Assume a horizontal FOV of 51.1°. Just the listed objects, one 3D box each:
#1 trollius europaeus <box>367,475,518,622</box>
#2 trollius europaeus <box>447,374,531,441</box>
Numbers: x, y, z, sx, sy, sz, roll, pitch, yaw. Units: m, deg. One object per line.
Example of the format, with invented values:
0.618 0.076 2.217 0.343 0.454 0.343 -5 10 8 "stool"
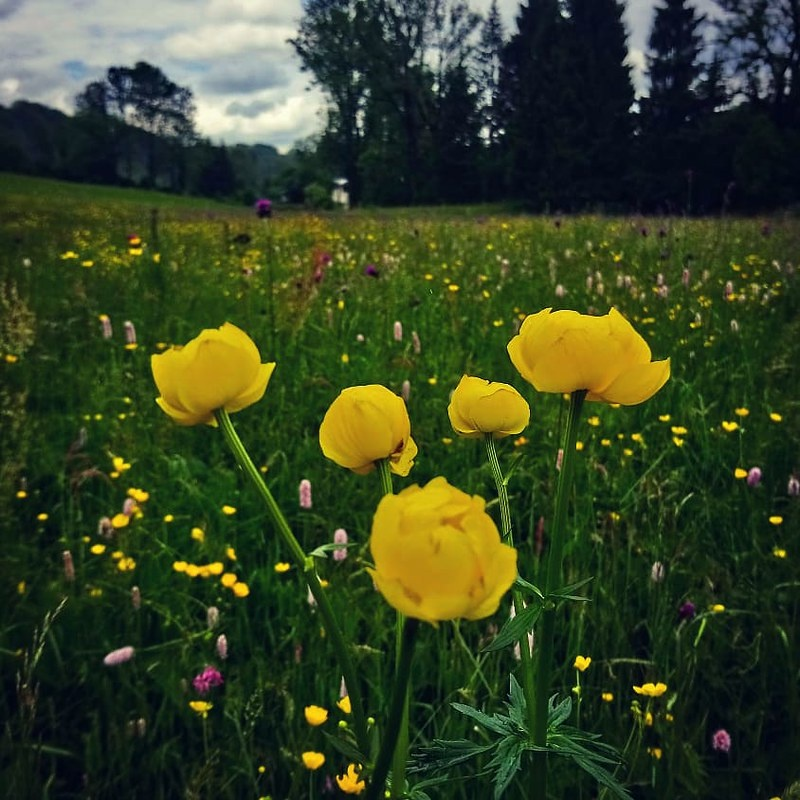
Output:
0.073 0.291 1.579 0.227 0.308 0.179 10 -28 -35 "trollius europaeus"
0.195 0.006 1.927 0.162 0.156 0.219 -3 0 -21 "trollius europaeus"
